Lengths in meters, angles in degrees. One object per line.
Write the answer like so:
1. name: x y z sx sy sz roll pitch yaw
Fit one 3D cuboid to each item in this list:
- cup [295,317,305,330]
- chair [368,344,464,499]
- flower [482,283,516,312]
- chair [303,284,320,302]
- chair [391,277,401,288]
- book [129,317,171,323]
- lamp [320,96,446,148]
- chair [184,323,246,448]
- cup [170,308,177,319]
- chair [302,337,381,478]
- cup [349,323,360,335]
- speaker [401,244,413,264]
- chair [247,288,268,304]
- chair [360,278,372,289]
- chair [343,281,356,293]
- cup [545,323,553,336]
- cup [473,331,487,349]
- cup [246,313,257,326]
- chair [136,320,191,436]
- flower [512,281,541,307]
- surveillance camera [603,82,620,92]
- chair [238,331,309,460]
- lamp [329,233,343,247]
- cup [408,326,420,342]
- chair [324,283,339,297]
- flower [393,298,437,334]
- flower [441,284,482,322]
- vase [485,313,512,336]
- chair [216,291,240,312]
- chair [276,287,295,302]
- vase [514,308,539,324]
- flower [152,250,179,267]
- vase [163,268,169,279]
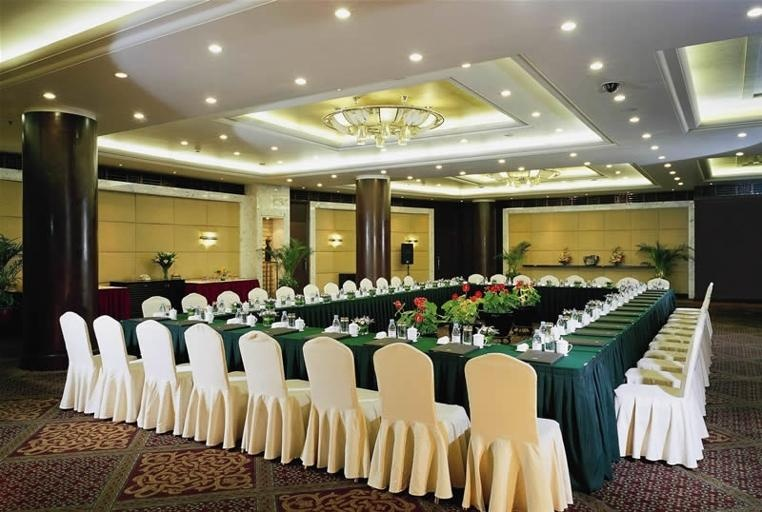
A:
1. cup: -1.067 0.911 6.692 0.102 0.152 0.140 -6 -10 37
2. chair: 0.392 1.507 5.025 0.997 1.418 1.084 -1 2 -42
3. flower: 2.045 0.769 8.889 0.545 0.427 0.575 -1 -1 20
4. chair: -1.274 0.688 9.484 0.282 0.418 0.315 1 -1 -41
5. chair: 0.364 0.603 11.480 0.189 0.243 0.211 -3 0 -31
6. book: -3.137 0.880 6.988 0.269 0.029 0.258 1 -2 20
7. lamp: 0.043 -2.335 8.808 1.939 0.796 1.091 -1 12 -2
8. chair: -1.729 1.412 5.776 0.773 1.257 0.878 0 0 32
9. cup: -2.918 0.839 7.276 0.121 0.169 0.124 -1 -2 0
10. chair: -0.384 1.491 5.247 0.852 1.270 0.861 -1 -1 36
11. cup: -0.325 0.907 6.234 0.136 0.138 0.109 3 -3 -27
12. speaker: 0.899 -0.021 17.318 0.341 0.845 0.871 1 12 7
13. chair: -2.203 0.726 9.157 0.266 0.394 0.309 2 -5 -21
14. chair: -0.305 0.603 10.890 0.204 0.260 0.235 2 -3 -23
15. chair: -0.656 0.653 10.740 0.219 0.328 0.251 2 -2 -33
16. cup: 1.854 0.834 5.660 0.094 0.155 0.105 1 -2 14
17. cup: 1.086 0.935 5.596 0.137 0.145 0.117 0 -2 10
18. cup: -1.736 0.885 6.925 0.103 0.165 0.158 -3 -6 31
19. chair: -2.382 1.416 6.027 0.716 1.223 0.825 -6 -6 38
20. flower: 2.655 0.713 9.252 0.573 0.426 0.600 2 -3 14
21. surveillance camera: 3.103 -2.304 6.894 0.110 0.052 0.110 0 0 -36
22. chair: -1.073 1.482 5.511 0.803 1.248 0.891 -5 -9 38
23. lamp: -1.492 -0.519 16.569 0.125 0.461 0.441 1 2 34
24. cup: 0.363 0.925 5.941 0.096 0.160 0.160 1 -5 -17
25. chair: -0.987 0.694 10.201 0.257 0.365 0.284 0 -2 -34
26. flower: 0.564 0.731 6.355 0.320 0.306 0.379 -10 -15 12
27. flower: 1.260 0.756 8.170 0.622 0.610 0.638 8 12 38
28. vase: 2.093 1.175 8.972 0.393 0.324 0.406 1 2 31
29. chair: -2.574 0.769 8.522 0.340 0.505 0.379 1 -1 -41
30. chair: -1.722 0.701 9.343 0.264 0.368 0.255 2 -1 -37
31. vase: 2.893 1.209 10.179 0.543 0.416 0.567 0 -7 1
32. flower: -5.378 0.091 12.687 0.412 0.314 0.432 -3 -2 5
33. vase: -5.361 0.427 12.787 0.152 0.294 0.544 -5 13 -22
